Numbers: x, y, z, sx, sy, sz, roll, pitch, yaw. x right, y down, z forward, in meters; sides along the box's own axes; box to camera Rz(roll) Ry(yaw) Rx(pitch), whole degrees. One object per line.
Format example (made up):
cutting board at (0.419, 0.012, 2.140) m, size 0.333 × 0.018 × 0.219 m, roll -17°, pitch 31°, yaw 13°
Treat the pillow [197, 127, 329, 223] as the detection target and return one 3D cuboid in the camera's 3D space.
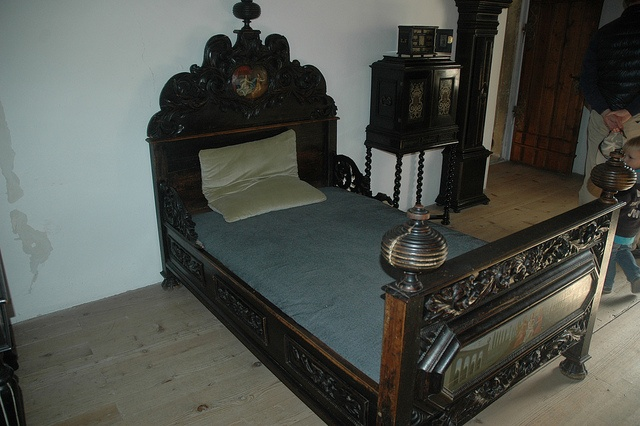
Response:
pillow at (-0.352, -0.335, 3.556) m, size 0.963 × 0.429 × 0.662 m, roll -17°, pitch 30°, yaw -38°
